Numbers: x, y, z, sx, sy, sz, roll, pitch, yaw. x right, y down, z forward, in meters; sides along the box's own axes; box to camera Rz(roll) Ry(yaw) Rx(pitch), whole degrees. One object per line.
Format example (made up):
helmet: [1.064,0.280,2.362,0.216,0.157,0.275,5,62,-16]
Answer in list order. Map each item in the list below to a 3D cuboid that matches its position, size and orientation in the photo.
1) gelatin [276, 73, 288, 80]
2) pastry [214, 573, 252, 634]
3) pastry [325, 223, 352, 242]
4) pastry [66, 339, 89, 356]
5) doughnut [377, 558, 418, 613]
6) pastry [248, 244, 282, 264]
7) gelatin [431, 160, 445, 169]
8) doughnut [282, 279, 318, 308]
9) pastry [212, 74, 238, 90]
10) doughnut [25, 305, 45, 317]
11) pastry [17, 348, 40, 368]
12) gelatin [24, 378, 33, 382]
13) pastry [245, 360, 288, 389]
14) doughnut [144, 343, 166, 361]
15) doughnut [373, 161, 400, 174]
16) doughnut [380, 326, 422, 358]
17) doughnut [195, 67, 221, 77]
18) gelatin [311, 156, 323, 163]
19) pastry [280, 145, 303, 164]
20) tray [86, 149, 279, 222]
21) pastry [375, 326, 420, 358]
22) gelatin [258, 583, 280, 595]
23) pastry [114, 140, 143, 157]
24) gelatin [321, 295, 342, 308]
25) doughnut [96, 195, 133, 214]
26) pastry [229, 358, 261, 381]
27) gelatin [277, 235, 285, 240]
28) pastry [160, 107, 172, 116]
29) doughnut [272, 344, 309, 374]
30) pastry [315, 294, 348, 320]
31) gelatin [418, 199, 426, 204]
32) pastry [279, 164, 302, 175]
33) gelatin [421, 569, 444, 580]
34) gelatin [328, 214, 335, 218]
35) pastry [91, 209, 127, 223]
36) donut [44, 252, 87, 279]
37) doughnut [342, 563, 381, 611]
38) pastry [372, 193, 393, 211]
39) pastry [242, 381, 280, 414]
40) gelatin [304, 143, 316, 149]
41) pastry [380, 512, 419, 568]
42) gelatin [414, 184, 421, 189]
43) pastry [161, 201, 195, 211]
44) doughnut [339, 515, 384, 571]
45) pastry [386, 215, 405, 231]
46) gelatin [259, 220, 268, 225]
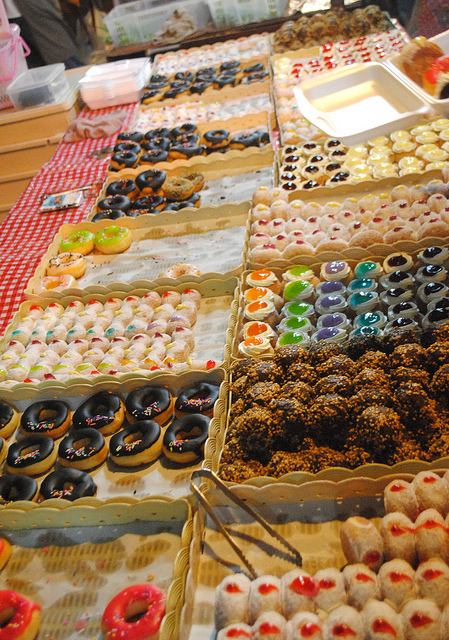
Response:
gelatin: [0.633,-2.704,5.763,0.129,0.024,0.145,14,47,33]
pastry: [0.018,0.925,1.711,0.130,0.066,0.167,-1,40,31]
pastry: [0.713,-0.561,3.237,0.117,0.070,0.126,-24,49,-12]
pastry: [-0.974,0.181,3.431,0.113,0.106,0.067,-4,69,14]
doughnut: [0.525,0.797,1.592,0.146,0.073,0.099,-2,46,14]
pastry: [0.255,-0.420,3.335,0.151,0.095,0.152,-24,-3,32]
gelatin: [1.510,-1.101,3.665,0.085,0.019,0.163,3,42,23]
doughnut: [0.425,-0.170,2.946,0.175,0.096,0.164,-24,33,3]
pastry: [0.014,-2.931,6.358,0.279,0.100,0.199,-26,39,-29]
doughnut: [-1.410,-0.063,3.855,0.107,0.057,0.100,0,0,4]
pastry: [-1.293,0.253,3.416,0.112,0.060,0.125,0,12,4]
gelatin: [-1.220,0.373,3.224,0.032,0.009,0.029,-7,16,-1]
pastry: [0.199,0.251,2.441,0.151,0.090,0.145,6,20,18]
doughnut: [-0.421,0.195,3.232,0.112,0.051,0.107,11,29,23]
doughnut: [1.207,-1.139,3.834,0.152,0.039,0.141,-11,21,-15]
doughnut: [0.773,0.092,2.314,0.135,0.077,0.148,-10,8,8]
doughnut: [-0.207,-3.195,6.654,0.268,0.080,0.180,-4,34,11]
gelatin: [0.742,-1.296,4.182,0.084,0.018,0.083,-1,41,19]
pastry: [0.600,-1.420,4.501,0.157,0.140,0.158,25,49,40]
tray: [-0.368,-1.237,4.914,1.650,0.209,0.778,-1,39,12]
pastry: [0.775,0.102,2.337,0.150,0.051,0.138,-12,24,36]
gelatin: [0.137,0.862,1.658,0.040,0.013,0.032,-4,15,-6]
pastry: [-1.032,-1.855,5.547,0.249,0.083,0.222,-3,46,-1]
gelatin: [0.565,-0.094,2.749,0.095,0.030,0.082,-27,40,-13]
doughnut: [-1.024,-1.074,4.859,0.237,0.080,0.218,-18,32,6]
pastry: [0.091,0.248,2.605,0.110,0.070,0.130,-37,7,-39]
gelatin: [0.369,-0.533,3.369,0.040,0.034,0.012,-10,-4,9]
pastry: [-0.700,-2.490,6.212,0.145,0.038,0.134,-4,29,-26]
doughnut: [0.311,0.174,2.467,0.133,0.075,0.144,-9,16,10]
pastry: [0.560,-0.085,2.755,0.137,0.079,0.132,-31,29,-10]
gelatin: [1.238,-0.743,3.252,0.044,0.011,0.040,-11,18,-4]
pastry: [0.540,-1.226,4.202,0.132,0.039,0.121,-1,31,4]
gelatin: [0.601,0.743,1.514,0.032,0.009,0.042,-10,-1,41]
gelatin: [0.714,-0.694,3.465,0.025,0.006,0.024,15,35,23]
pastry: [-1.057,-0.957,4.727,0.206,0.069,0.185,-13,39,-6]
donut: [-1.327,-0.451,4.361,0.328,0.149,0.332,-12,39,7]
doughnut: [0.419,0.812,1.575,0.090,0.056,0.105,-19,44,2]
pastry: [1.032,-0.773,3.439,0.121,0.112,0.127,2,64,6]
pastry: [0.148,0.334,2.352,0.156,0.140,0.147,15,23,-6]
gelatin: [0.722,-1.463,4.361,0.062,0.020,0.062,-12,32,-3]
pastry: [0.571,0.714,1.673,0.091,0.053,0.153,-5,54,3]
gelatin: [1.260,-0.867,3.374,0.043,0.021,0.041,-14,-3,-3]
pastry: [-0.406,-1.025,4.634,0.166,0.050,0.154,-4,28,17]
doughnut: [0.471,0.753,1.758,0.096,0.154,0.122,-2,-22,-43]
pastry: [1.021,-0.588,3.105,0.094,0.087,0.069,-25,48,-12]
gelatin: [0.271,-0.680,3.623,0.053,0.025,0.081,-2,9,2]
